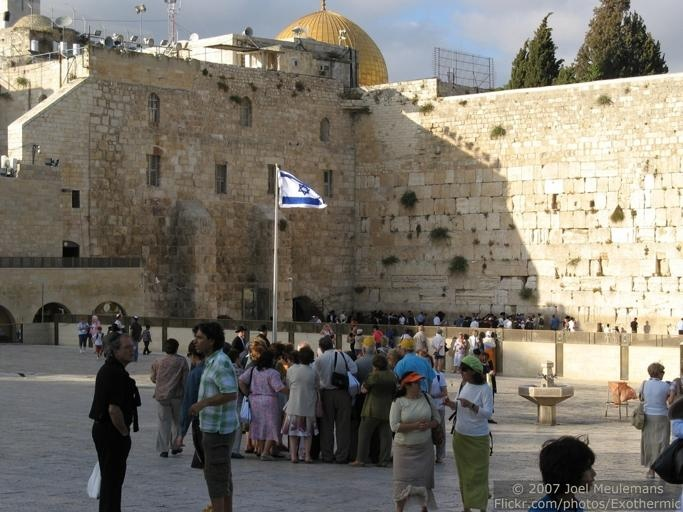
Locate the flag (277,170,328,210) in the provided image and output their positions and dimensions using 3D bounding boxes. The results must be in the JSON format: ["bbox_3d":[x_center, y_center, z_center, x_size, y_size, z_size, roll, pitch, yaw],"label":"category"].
[{"bbox_3d":[-1.255,-2.092,58.673,1.674,1.696,0.313,1,-9,0],"label":"flag"}]
